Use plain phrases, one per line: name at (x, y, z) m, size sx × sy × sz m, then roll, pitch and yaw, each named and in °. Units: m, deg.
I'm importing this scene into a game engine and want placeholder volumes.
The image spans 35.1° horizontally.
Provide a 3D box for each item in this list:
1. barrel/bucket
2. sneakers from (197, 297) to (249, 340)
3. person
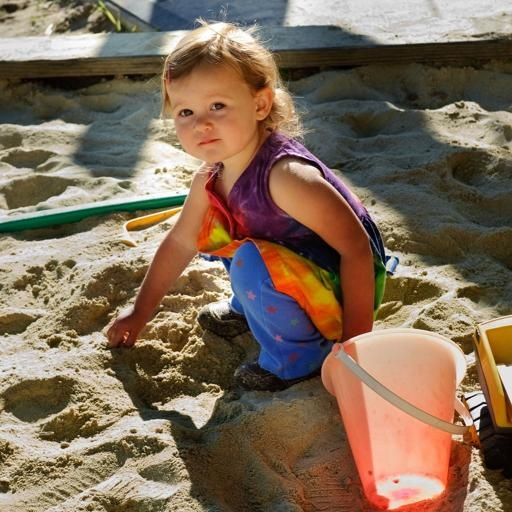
barrel/bucket at (0.379, 0.429, 2.186) m, size 0.424 × 0.500 × 0.233 m, roll 4°, pitch 25°, yaw 3°
sneakers at (-0.118, 0.208, 2.837) m, size 0.212 × 0.124 × 0.094 m, roll 26°, pitch 19°, yaw -19°
person at (0.009, -0.156, 2.525) m, size 0.872 × 1.089 × 0.510 m, roll 10°, pitch 26°, yaw 16°
